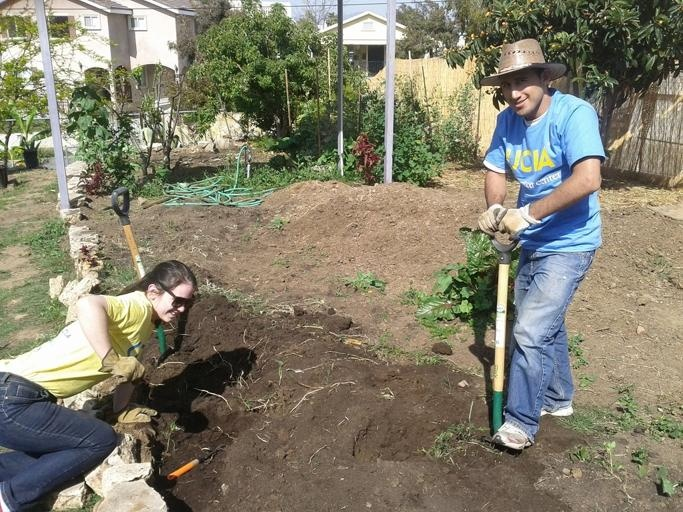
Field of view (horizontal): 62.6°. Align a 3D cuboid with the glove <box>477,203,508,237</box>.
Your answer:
[{"bbox_3d":[1.130,-0.281,4.189,0.096,0.229,0.170,21,27,11],"label":"glove"}]

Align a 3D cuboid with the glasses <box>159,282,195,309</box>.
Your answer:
[{"bbox_3d":[-1.188,0.279,4.090,0.198,0.060,0.201,27,21,-54],"label":"glasses"}]

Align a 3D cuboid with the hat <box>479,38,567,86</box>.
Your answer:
[{"bbox_3d":[1.324,-1.449,4.092,0.578,0.245,0.506,-1,10,12],"label":"hat"}]

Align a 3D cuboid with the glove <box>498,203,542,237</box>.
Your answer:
[{"bbox_3d":[1.263,-0.240,4.044,0.109,0.238,0.238,14,48,-41],"label":"glove"}]

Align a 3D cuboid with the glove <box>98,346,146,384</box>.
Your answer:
[{"bbox_3d":[-1.523,0.742,3.875,0.233,0.100,0.171,23,49,19],"label":"glove"}]
